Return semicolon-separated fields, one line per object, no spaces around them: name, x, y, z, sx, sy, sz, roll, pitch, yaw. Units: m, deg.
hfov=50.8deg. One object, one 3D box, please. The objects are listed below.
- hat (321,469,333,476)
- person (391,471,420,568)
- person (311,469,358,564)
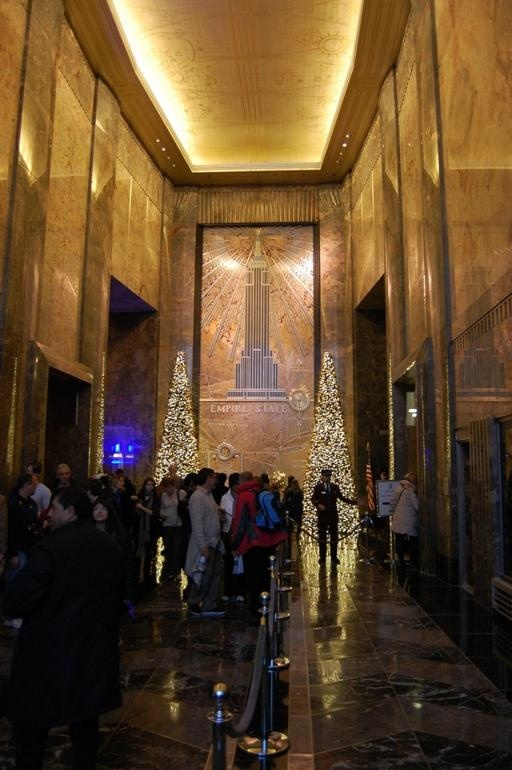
hat;1.189;1.471;9.127;0.217;0.094;0.307;1;-10;-2
person;2.418;2.189;8.795;0.406;1.434;1.379;-1;-11;14
person;1.351;2.290;9.510;0.685;1.563;1.460;0;-11;10
